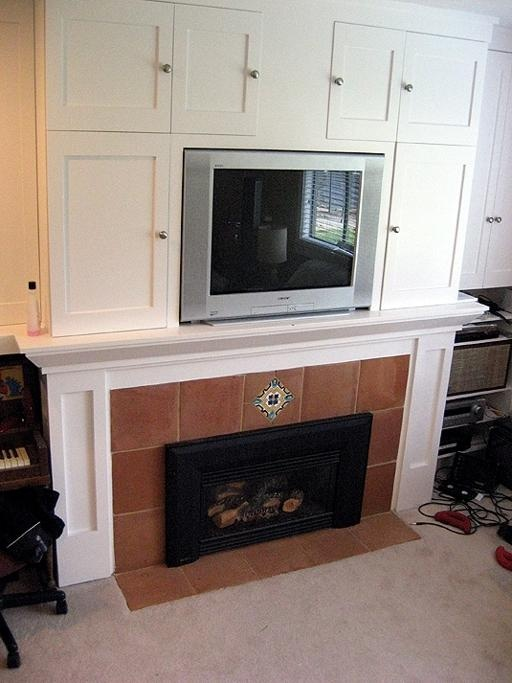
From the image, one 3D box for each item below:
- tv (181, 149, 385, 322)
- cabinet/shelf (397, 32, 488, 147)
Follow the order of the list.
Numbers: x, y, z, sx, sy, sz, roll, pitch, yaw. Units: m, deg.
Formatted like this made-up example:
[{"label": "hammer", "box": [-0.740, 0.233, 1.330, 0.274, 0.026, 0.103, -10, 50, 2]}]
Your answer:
[{"label": "tv", "box": [0.064, -0.431, 2.198, 0.830, 0.628, 0.299, -6, 19, -25]}, {"label": "cabinet/shelf", "box": [0.730, -1.032, 2.326, 0.398, 0.355, 0.225, -2, 12, -17]}]
